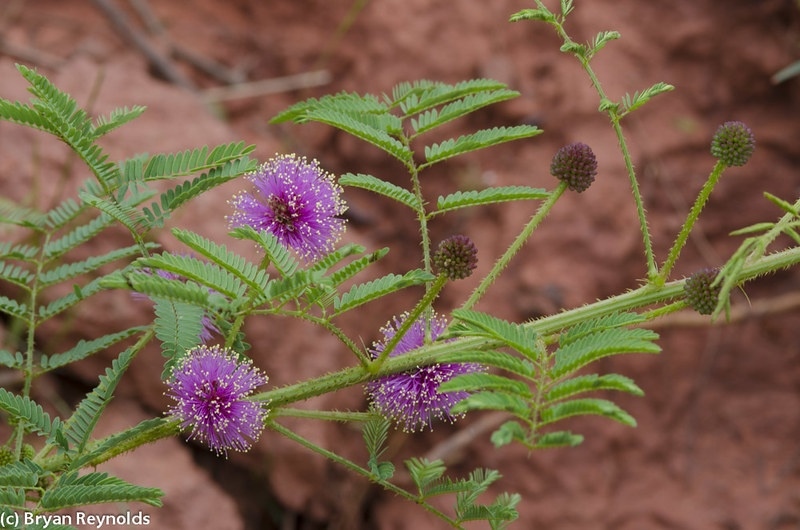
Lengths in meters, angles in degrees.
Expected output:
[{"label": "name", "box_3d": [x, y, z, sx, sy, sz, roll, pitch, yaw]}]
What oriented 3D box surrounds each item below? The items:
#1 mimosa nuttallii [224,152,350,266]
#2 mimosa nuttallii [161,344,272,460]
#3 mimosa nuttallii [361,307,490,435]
[{"label": "mimosa nuttallii", "box_3d": [-0.668, -0.303, 5.578, 0.640, 0.633, 0.408, -20, -2, -11]}, {"label": "mimosa nuttallii", "box_3d": [-1.062, 0.612, 5.401, 0.484, 0.324, 0.561, 4, 18, 33]}, {"label": "mimosa nuttallii", "box_3d": [0.093, 0.660, 5.618, 0.688, 0.522, 0.685, -17, 24, 1]}]
